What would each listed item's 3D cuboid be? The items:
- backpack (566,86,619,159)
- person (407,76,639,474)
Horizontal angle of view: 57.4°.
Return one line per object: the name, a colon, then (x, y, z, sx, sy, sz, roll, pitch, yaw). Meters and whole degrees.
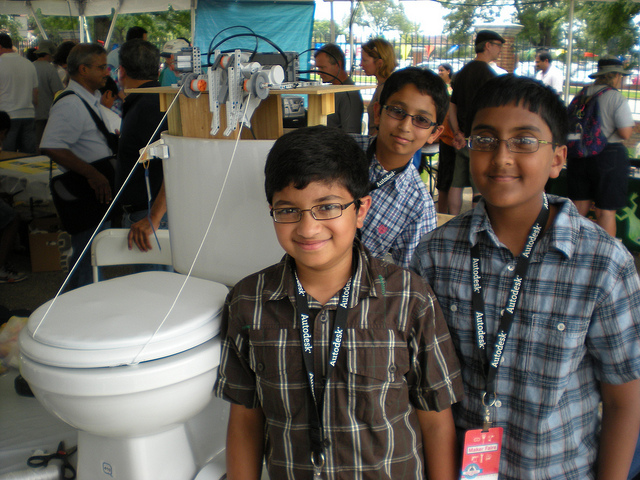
backpack: (1.762, -0.768, 3.802, 0.290, 0.478, 0.397, 6, 13, 24)
person: (0.514, 0.099, 1.462, 0.555, 0.985, 0.222, 2, 12, 9)
